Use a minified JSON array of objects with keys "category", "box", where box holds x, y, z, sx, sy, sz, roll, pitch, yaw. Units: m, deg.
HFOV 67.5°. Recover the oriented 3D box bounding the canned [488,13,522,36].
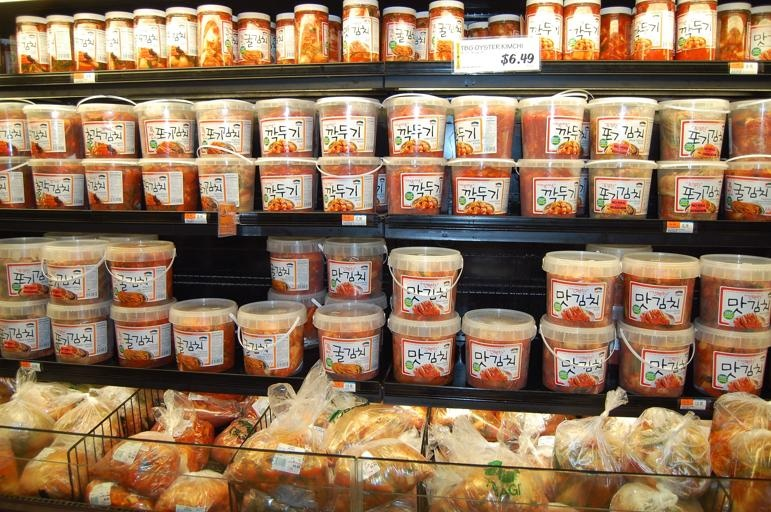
[{"category":"canned","box":[0.524,-1.027,2.574,0.126,0.077,0.118,4,14,13]}]
